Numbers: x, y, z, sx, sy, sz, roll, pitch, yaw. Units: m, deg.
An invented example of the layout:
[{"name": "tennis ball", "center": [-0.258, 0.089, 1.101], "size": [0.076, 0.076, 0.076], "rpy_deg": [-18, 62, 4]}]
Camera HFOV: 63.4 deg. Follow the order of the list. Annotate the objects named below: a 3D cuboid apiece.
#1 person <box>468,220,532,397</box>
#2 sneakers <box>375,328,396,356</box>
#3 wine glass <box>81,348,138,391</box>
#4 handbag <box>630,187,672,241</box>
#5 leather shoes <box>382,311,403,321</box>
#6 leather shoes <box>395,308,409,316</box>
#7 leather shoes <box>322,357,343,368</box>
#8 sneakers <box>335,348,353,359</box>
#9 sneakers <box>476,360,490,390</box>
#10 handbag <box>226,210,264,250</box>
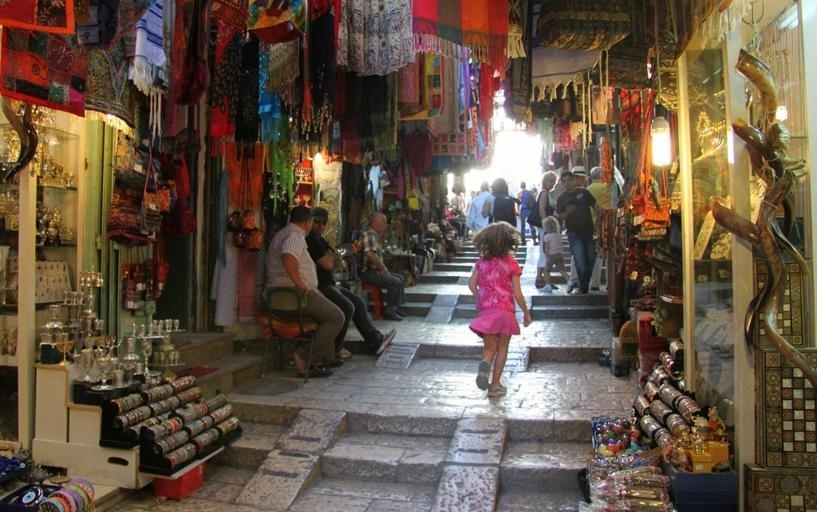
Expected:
[{"name": "person", "center": [0.972, 0.570, 7.149], "size": [0.614, 1.426, 0.610], "rpy_deg": [-2, -1, 10]}, {"name": "sneakers", "center": [-0.288, 1.118, 8.770], "size": [0.444, 0.173, 0.162], "rpy_deg": [-49, -7, -35]}, {"name": "wine glass", "center": [-2.653, 1.006, 5.796], "size": [0.351, 0.167, 0.352], "rpy_deg": [4, -4, -16]}, {"name": "handbag", "center": [2.213, -0.378, 6.340], "size": [0.363, 0.471, 0.409], "rpy_deg": [0, -1, -18]}, {"name": "leather shoes", "center": [-0.257, 0.945, 10.351], "size": [0.327, 0.146, 0.124], "rpy_deg": [3, 18, 8]}, {"name": "leather shoes", "center": [-0.111, 0.914, 10.594], "size": [0.235, 0.173, 0.081], "rpy_deg": [-3, 9, -2]}, {"name": "leather shoes", "center": [-0.932, 1.316, 8.095], "size": [0.270, 0.119, 0.097], "rpy_deg": [-3, 4, -15]}, {"name": "sneakers", "center": [-0.862, 1.273, 8.571], "size": [0.140, 0.112, 0.270], "rpy_deg": [0, -10, -9]}, {"name": "sneakers", "center": [0.791, 1.265, 7.016], "size": [0.142, 0.308, 0.127], "rpy_deg": [4, -1, 15]}, {"name": "handbag", "center": [-2.082, -0.313, 8.350], "size": [0.483, 0.485, 0.392], "rpy_deg": [-3, 6, -11]}]
